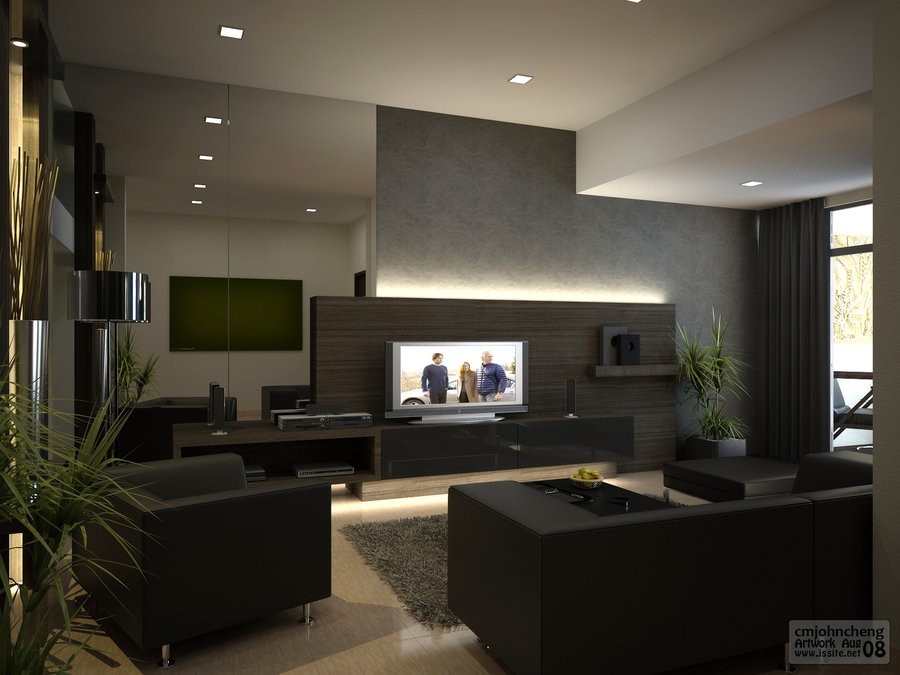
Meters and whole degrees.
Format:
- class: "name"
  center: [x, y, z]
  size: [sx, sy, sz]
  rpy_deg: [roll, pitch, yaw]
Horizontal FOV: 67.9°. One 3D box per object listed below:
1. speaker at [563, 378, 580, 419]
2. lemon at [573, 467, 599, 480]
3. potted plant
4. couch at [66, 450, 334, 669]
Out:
- class: "speaker"
  center: [1.213, 0.604, 6.641]
  size: [0.141, 0.379, 0.338]
  rpy_deg: [0, 6, 10]
- class: "lemon"
  center: [0.967, 0.981, 4.814]
  size: [0.150, 0.066, 0.149]
  rpy_deg: [-1, -3, -40]
- class: "potted plant"
  center: [2.903, 0.512, 7.396]
  size: [0.750, 1.531, 1.353]
  rpy_deg: [2, 7, 25]
- class: "couch"
  center: [-1.529, 1.270, 3.796]
  size: [1.537, 0.812, 1.421]
  rpy_deg: [2, -5, -34]
